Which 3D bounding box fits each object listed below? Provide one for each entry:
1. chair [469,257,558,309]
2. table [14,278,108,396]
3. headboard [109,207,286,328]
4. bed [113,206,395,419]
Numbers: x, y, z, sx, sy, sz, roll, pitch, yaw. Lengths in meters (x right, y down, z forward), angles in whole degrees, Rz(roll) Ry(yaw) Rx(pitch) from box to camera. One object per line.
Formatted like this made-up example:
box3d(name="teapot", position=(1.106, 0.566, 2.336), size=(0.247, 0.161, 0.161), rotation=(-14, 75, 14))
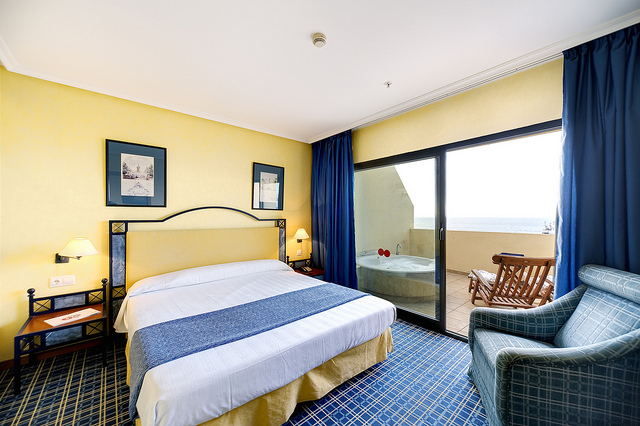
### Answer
box3d(name="chair", position=(2.933, 1.016, 6.179), size=(0.883, 1.078, 1.315), rotation=(2, 10, 8))
box3d(name="table", position=(-3.072, 1.420, 4.824), size=(0.946, 1.180, 0.559), rotation=(-4, 2, -25))
box3d(name="headboard", position=(-1.732, 0.734, 5.341), size=(1.567, 1.093, 0.081), rotation=(2, -6, -36))
box3d(name="bed", position=(-0.919, 0.998, 5.088), size=(2.944, 2.295, 2.357), rotation=(-4, 2, -33))
